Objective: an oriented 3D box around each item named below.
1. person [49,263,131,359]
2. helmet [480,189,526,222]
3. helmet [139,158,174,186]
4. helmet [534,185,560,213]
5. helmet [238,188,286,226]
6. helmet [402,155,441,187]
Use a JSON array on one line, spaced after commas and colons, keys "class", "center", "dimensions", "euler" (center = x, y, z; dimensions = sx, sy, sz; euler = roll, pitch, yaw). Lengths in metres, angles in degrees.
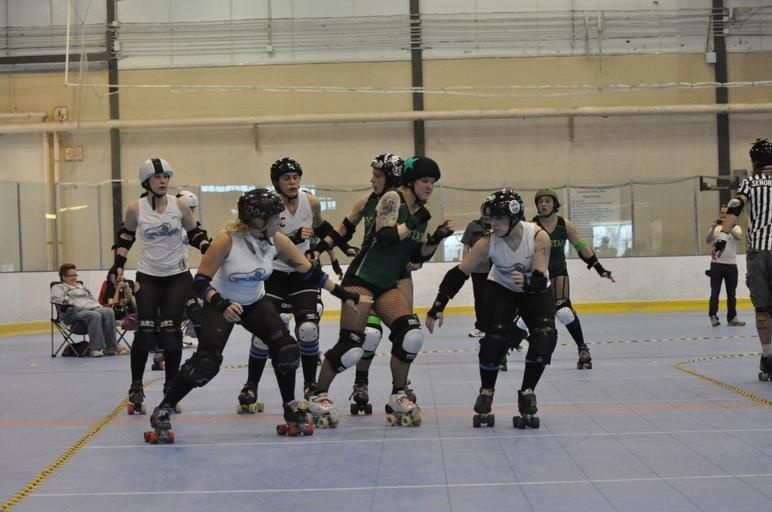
[{"class": "person", "center": [-5.509, 1.088, 20.465], "dimensions": [1.123, 1.896, 1.149], "euler": [1, -8, -19]}, {"class": "helmet", "center": [1.629, -0.698, 15.296], "dimensions": [0.521, 0.504, 0.423], "euler": [4, -4, 0]}, {"class": "helmet", "center": [-3.387, -1.237, 16.201], "dimensions": [0.442, 0.329, 0.385], "euler": [-8, -1, 18]}, {"class": "helmet", "center": [2.620, -0.925, 17.962], "dimensions": [0.368, 0.336, 0.461], "euler": [-4, -22, 27]}, {"class": "helmet", "center": [-1.694, -0.664, 15.048], "dimensions": [0.577, 0.488, 0.440], "euler": [-11, 4, -2]}, {"class": "helmet", "center": [0.477, -1.207, 15.479], "dimensions": [0.509, 0.349, 0.355], "euler": [-6, -1, 21]}]
